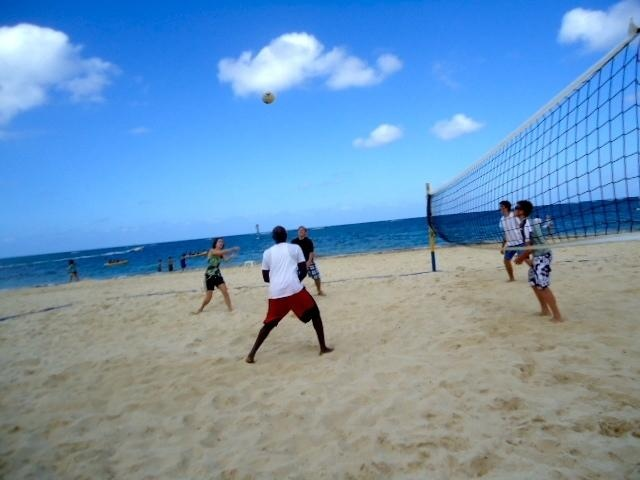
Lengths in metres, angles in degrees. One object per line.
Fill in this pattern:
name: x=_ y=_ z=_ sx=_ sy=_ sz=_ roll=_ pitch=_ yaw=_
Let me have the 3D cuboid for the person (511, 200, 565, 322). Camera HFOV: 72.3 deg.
person: x=2.919 y=0.263 z=5.880 sx=0.506 sy=1.626 sz=1.074 roll=-4 pitch=2 yaw=28

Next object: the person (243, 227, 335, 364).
person: x=-0.447 y=0.705 z=5.673 sx=1.078 sy=1.487 sz=1.149 roll=-5 pitch=1 yaw=-10
